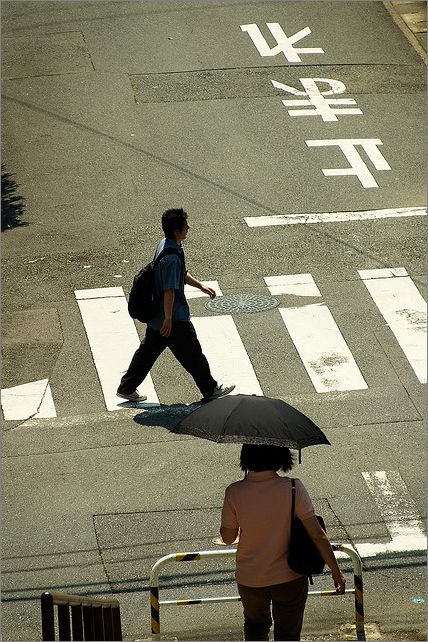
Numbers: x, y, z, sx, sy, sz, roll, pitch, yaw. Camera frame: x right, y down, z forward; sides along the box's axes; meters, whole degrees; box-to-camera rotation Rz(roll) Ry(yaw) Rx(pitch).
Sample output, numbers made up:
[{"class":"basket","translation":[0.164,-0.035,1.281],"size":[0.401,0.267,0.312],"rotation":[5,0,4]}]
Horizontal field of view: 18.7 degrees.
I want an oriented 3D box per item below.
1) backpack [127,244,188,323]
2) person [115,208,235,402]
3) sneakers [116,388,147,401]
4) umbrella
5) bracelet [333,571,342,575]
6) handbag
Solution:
[{"class":"backpack","translation":[-0.549,-0.336,12.261],"size":[0.608,0.728,0.388],"rotation":[-5,8,10]},{"class":"person","translation":[-0.401,-0.108,13.762],"size":[1.468,2.174,0.810],"rotation":[-9,50,-12]},{"class":"sneakers","translation":[-0.818,0.744,12.965],"size":[0.308,0.127,0.109],"rotation":[5,28,-29]},{"class":"umbrella","translation":[0.207,0.650,8.400],"size":[0.607,0.212,0.630],"rotation":[13,5,32]},{"class":"bracelet","translation":[0.780,1.603,8.294],"size":[0.035,0.031,0.031],"rotation":[2,6,37]},{"class":"handbag","translation":[0.571,1.344,8.192],"size":[0.204,0.683,0.193],"rotation":[0,10,42]}]
